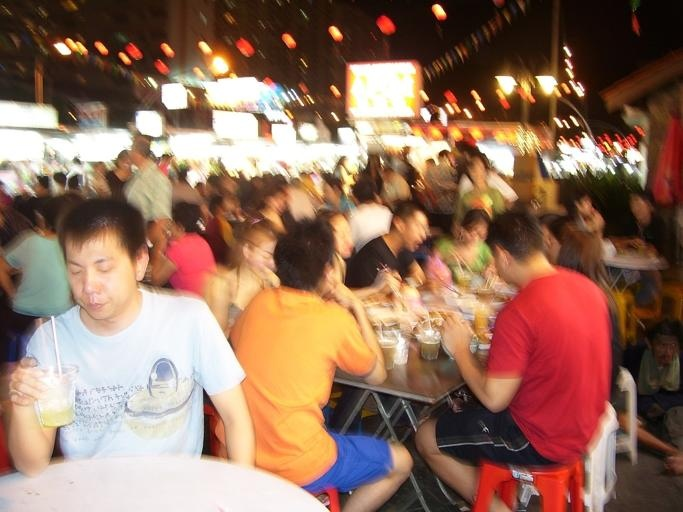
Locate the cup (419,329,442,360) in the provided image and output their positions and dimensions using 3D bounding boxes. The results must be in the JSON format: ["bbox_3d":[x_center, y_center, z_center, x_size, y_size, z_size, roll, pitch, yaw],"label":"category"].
[{"bbox_3d":[0.615,0.595,3.486,0.169,0.210,0.171,-2,-3,0],"label":"cup"}]

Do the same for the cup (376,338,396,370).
[{"bbox_3d":[0.316,0.634,3.300,0.146,0.172,0.153,-1,-4,0],"label":"cup"}]
